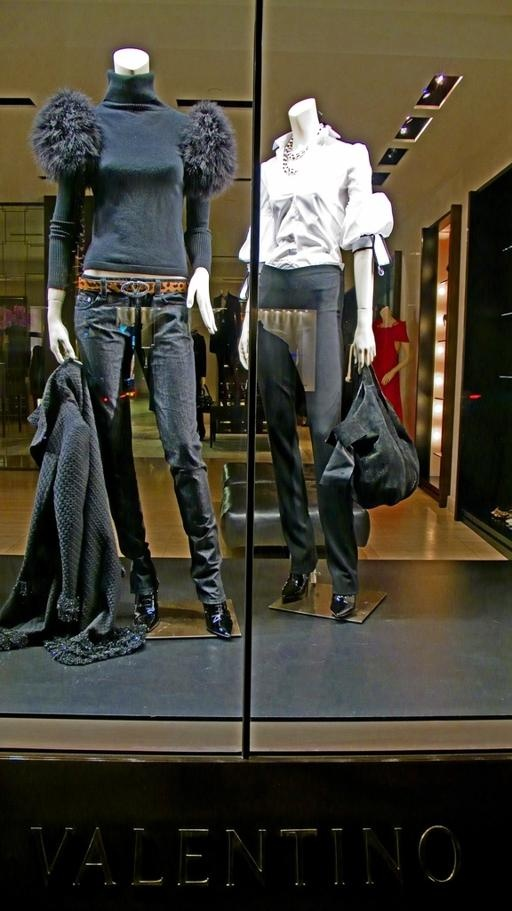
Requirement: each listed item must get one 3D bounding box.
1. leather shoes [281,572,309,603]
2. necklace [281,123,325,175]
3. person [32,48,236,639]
[{"bbox_3d":[0.101,0.335,1.782,0.044,0.057,0.133,0,-9,4],"label":"leather shoes"},{"bbox_3d":[0.096,-0.653,1.534,0.079,0.066,0.203,2,10,1],"label":"necklace"},{"bbox_3d":[-0.232,-0.175,1.474,0.404,1.118,0.182,3,9,8],"label":"person"}]
